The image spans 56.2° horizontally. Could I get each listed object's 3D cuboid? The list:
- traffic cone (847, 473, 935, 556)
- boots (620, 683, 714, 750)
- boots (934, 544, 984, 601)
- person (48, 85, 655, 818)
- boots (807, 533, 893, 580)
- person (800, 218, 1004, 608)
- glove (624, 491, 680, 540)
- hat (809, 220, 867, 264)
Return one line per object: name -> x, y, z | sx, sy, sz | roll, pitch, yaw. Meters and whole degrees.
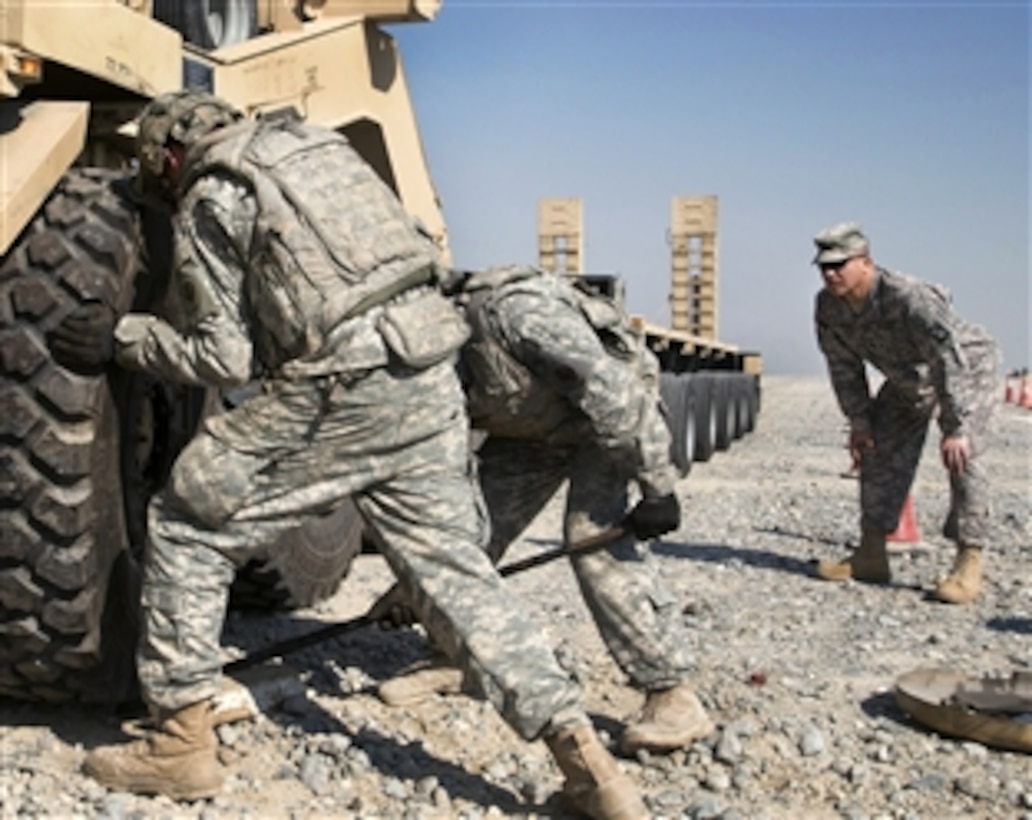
traffic cone -> 2.389, 0.706, 6.058 | 0.443, 0.453, 0.356 | 2, -4, -3
boots -> 0.504, 1.034, 3.304 | 0.173, 0.232, 0.465 | -23, -23, 37
boots -> 2.276, 0.842, 4.998 | 0.446, 0.276, 0.166 | 7, -7, -42
person -> -0.542, 0.132, 2.849 | 1.543, 1.971, 0.404 | 1, 4, 2
boots -> 1.862, 0.841, 5.490 | 0.471, 0.293, 0.200 | 3, -8, 8
person -> 2.062, -0.014, 5.242 | 1.186, 1.924, 0.967 | -3, 6, -42
glove -> 0.462, 0.362, 3.296 | 0.189, 0.154, 0.141 | -7, -18, 18
hat -> 1.660, -0.857, 4.917 | 0.256, 0.211, 0.267 | 2, 4, 12
